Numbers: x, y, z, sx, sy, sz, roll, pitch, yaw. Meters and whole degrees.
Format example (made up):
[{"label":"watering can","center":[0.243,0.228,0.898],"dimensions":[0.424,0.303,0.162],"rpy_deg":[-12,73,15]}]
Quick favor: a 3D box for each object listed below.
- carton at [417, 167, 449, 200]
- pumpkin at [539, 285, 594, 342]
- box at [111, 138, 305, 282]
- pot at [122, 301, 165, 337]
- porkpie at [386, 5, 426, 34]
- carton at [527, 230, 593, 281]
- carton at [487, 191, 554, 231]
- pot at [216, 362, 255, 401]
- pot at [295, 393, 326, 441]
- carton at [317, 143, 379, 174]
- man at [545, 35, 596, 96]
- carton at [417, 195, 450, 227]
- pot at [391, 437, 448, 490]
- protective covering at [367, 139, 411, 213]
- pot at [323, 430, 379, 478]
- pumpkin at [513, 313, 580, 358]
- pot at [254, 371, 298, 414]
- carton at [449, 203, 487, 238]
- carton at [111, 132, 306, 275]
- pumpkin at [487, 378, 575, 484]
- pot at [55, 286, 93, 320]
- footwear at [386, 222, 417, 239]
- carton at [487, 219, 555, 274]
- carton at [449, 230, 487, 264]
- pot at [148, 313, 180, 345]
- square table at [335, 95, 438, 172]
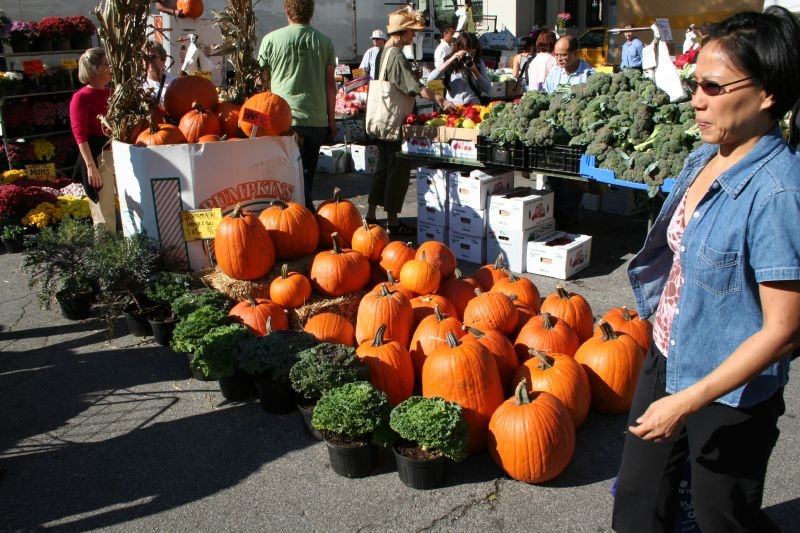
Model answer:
[{"label":"carton","center":[0.395,-0.994,6.644],"dimensions":[0.386,0.252,0.395],"rpy_deg":[8,21,23]},{"label":"pumpkin","center":[1.362,0.333,4.451],"dimensions":[0.424,0.545,0.440],"rpy_deg":[-2,6,39]},{"label":"box","center":[-1.932,-0.769,5.790],"dimensions":[1.109,1.338,2.080],"rpy_deg":[14,22,28]},{"label":"pot","center":[-2.346,0.476,5.022],"dimensions":[0.334,0.247,0.333],"rpy_deg":[1,15,0]},{"label":"porkpie","center":[0.106,-2.966,6.611],"dimensions":[0.490,0.198,0.404],"rpy_deg":[-22,34,-20]},{"label":"carton","center":[1.818,-0.125,6.114],"dimensions":[0.492,0.337,0.667],"rpy_deg":[12,23,38]},{"label":"carton","center":[1.414,-0.653,6.271],"dimensions":[0.552,0.350,0.746],"rpy_deg":[11,23,34]},{"label":"pot","center":[-1.270,0.895,4.190],"dimensions":[0.270,0.212,0.277],"rpy_deg":[1,5,0]},{"label":"pot","center":[-0.635,1.046,3.779],"dimensions":[0.230,0.190,0.243],"rpy_deg":[2,6,0]},{"label":"carton","center":[-0.942,-1.945,10.442],"dimensions":[0.891,0.332,0.666],"rpy_deg":[10,17,34]},{"label":"man","center":[2.307,-2.638,7.277],"dimensions":[0.466,0.829,0.839],"rpy_deg":[-31,39,-28]},{"label":"carton","center":[0.415,-0.668,6.750],"dimensions":[0.368,0.235,0.371],"rpy_deg":[14,27,33]},{"label":"pot","center":[0.136,1.256,3.464],"dimensions":[0.340,0.193,0.376],"rpy_deg":[1,6,6]},{"label":"protective covering","center":[-0.234,-1.322,7.151],"dimensions":[0.312,1.037,0.473],"rpy_deg":[28,49,36]},{"label":"pot","center":[-0.322,1.214,3.570],"dimensions":[0.340,0.221,0.365],"rpy_deg":[-1,8,0]},{"label":"pumpkin","center":[1.068,0.510,3.990],"dimensions":[0.361,0.363,0.371],"rpy_deg":[4,16,25]},{"label":"pot","center":[-0.911,0.946,3.962],"dimensions":[0.298,0.224,0.312],"rpy_deg":[2,13,0]},{"label":"carton","center":[0.785,-0.514,6.403],"dimensions":[0.391,0.247,0.394],"rpy_deg":[10,15,34]},{"label":"carton","center":[-1.751,-0.711,5.548],"dimensions":[0.985,1.101,1.752],"rpy_deg":[21,25,35]},{"label":"pumpkin","center":[0.814,0.982,3.564],"dimensions":[0.612,0.705,0.599],"rpy_deg":[-3,11,16]},{"label":"pot","center":[-3.219,0.380,5.347],"dimensions":[0.395,0.291,0.406],"rpy_deg":[2,11,0]},{"label":"footwear","center":[0.010,-0.455,7.217],"dimensions":[0.470,0.193,0.161],"rpy_deg":[-3,17,-3]},{"label":"carton","center":[1.388,-0.301,6.295],"dimensions":[0.657,0.425,0.690],"rpy_deg":[18,30,41]},{"label":"carton","center":[0.936,-0.281,6.659],"dimensions":[0.563,0.308,0.571],"rpy_deg":[7,23,23]},{"label":"pot","center":[-2.135,0.561,4.862],"dimensions":[0.300,0.236,0.297],"rpy_deg":[3,11,0]},{"label":"square table","center":[-0.640,-2.654,11.363],"dimensions":[1.853,1.832,0.463],"rpy_deg":[-4,-8,32]}]
